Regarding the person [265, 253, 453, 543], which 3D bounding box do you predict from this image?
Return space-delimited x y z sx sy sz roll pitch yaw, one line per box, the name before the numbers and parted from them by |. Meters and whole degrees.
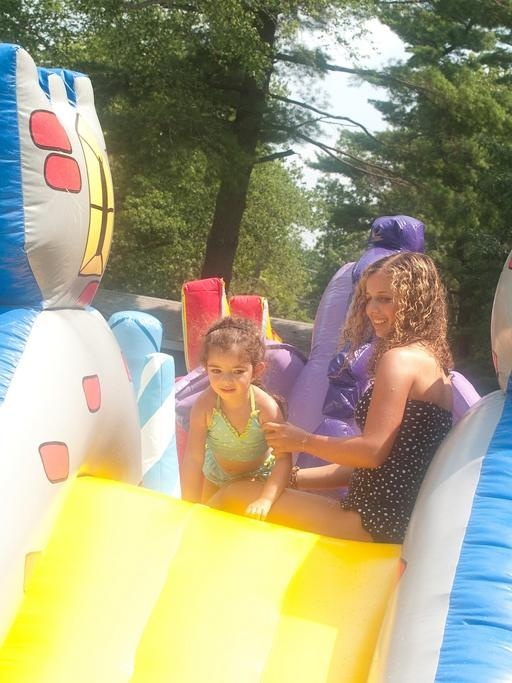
person | 0.335 0.146 1.772 0.444 0.765 0.460 24 18 35
